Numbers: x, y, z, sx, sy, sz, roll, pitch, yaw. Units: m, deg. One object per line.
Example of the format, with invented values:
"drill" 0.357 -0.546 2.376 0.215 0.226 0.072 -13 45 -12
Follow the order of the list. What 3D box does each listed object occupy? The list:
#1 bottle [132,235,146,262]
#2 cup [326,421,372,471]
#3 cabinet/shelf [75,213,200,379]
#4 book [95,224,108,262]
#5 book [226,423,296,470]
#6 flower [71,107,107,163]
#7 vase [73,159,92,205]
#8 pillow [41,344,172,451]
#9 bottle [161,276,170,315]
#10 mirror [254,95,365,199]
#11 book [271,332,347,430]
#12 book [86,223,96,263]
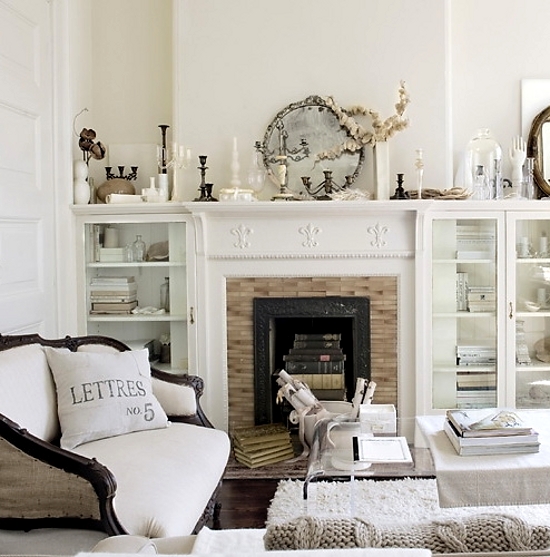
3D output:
"bottle" -0.806 -0.172 3.443 0.086 0.153 0.027 -3 3 -5
"cup" 0.253 0.604 2.108 0.152 0.137 0.117 5 -5 -42
"cabinet/shelf" -0.806 0.076 3.479 0.686 1.131 0.346 0 27 -4
"book" -1.032 -0.202 3.444 0.082 0.209 0.012 -3 3 5
"book" -0.082 0.909 3.284 0.244 0.118 0.196 -1 -1 -21
"flower" -1.107 -0.790 3.447 0.164 0.344 0.134 2 14 -11
"vase" -1.142 -0.559 3.425 0.081 0.275 0.150 -3 3 -8
"pillow" -0.687 0.484 2.322 0.138 0.269 0.328 -25 -19 39
"bottle" -0.652 0.101 3.446 0.054 0.210 0.026 -2 3 21
"mirror" 0.207 -0.767 3.555 0.631 0.669 0.024 2 40 3
"book" 0.188 0.618 3.767 0.453 0.694 0.500 -2 1 1
"book" -1.084 -0.202 3.440 0.078 0.222 0.027 -4 3 -19
